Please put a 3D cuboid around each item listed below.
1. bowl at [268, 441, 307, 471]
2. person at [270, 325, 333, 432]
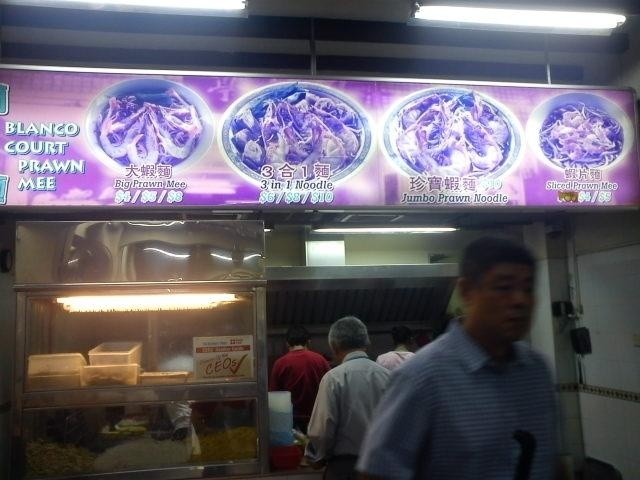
[{"bbox_3d":[-0.252,1.584,3.990,0.250,0.150,0.204,-1,-10,-3],"label":"bowl"},{"bbox_3d":[-0.159,1.324,4.705,0.553,1.160,0.394,-2,3,-5],"label":"person"}]
